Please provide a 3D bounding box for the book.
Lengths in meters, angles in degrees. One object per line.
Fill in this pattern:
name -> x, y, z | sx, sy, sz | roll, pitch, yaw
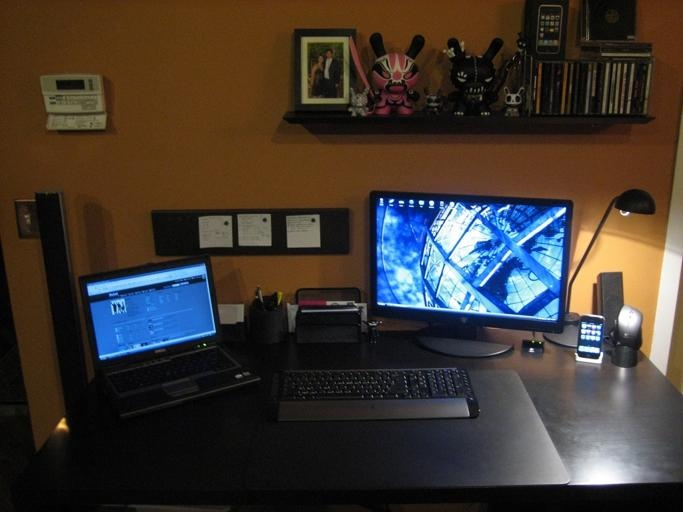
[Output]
book -> 0.871, -0.618, 2.099 | 0.440, 0.250, 0.085 | -2, 13, -2

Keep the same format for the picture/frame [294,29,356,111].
picture/frame -> -0.064, -0.700, 2.200 | 0.293, 0.392, 0.031 | 0, 5, -2
